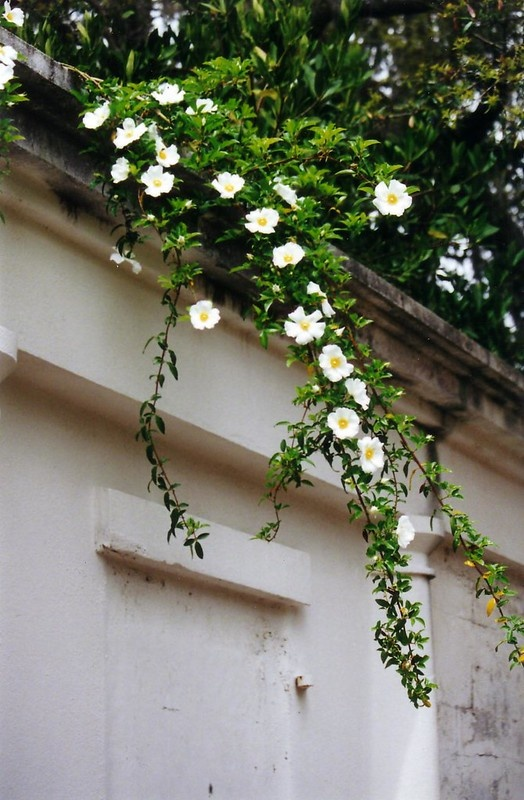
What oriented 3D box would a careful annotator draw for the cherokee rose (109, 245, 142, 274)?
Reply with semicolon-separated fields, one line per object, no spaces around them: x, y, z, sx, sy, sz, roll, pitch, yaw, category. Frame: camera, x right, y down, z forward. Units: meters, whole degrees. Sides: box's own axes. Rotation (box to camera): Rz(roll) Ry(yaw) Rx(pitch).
-0.476;-0.480;6.022;0.107;0.034;0.104;25;6;-31;cherokee rose

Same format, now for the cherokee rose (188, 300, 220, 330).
-0.216;-0.275;5.942;0.111;0.106;0.046;2;-11;-29;cherokee rose

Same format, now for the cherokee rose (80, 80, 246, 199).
-0.364;-0.861;6.022;0.600;0.449;0.283;12;-21;-28;cherokee rose

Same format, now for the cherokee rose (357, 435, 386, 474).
0.337;0.195;5.885;0.112;0.108;0.055;42;-27;-24;cherokee rose

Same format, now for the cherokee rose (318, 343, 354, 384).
0.237;-0.117;5.825;0.120;0.115;0.050;-37;14;-26;cherokee rose

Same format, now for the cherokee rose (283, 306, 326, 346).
0.129;-0.231;5.890;0.129;0.124;0.049;-26;-6;-12;cherokee rose

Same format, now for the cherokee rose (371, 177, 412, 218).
0.423;-0.679;6.026;0.125;0.125;0.063;42;-7;-7;cherokee rose

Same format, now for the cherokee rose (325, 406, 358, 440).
0.268;0.097;5.875;0.104;0.115;0.171;1;-18;4;cherokee rose
